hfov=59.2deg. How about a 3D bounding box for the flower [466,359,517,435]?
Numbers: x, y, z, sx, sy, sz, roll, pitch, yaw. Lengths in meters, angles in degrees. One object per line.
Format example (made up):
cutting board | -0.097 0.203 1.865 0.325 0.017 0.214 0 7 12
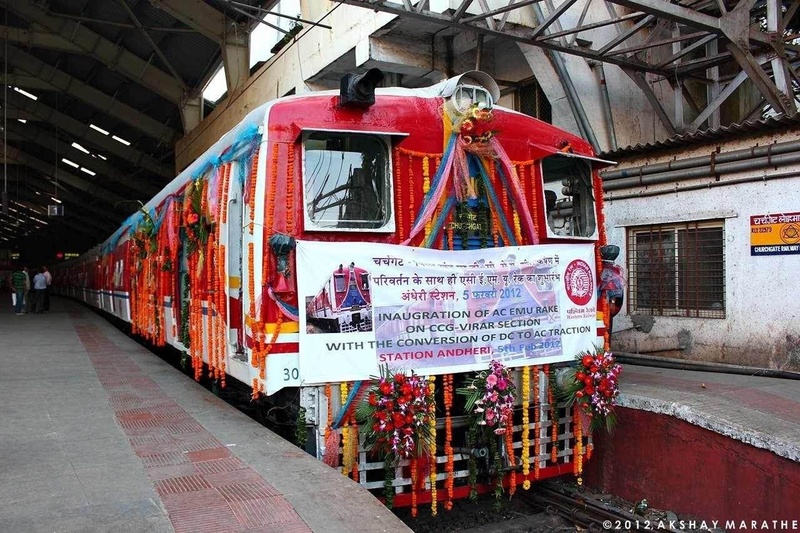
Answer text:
flower | 1.168 1.635 8.915 0.607 0.804 0.730 3 3 8

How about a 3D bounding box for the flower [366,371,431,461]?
flower | -0.005 1.837 8.483 0.815 1.086 0.392 0 9 -4

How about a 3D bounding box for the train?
train | -0.557 0.360 9.611 6.274 5.915 3.520 5 10 24

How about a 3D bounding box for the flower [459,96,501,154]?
flower | 1.015 -1.776 8.971 0.569 0.575 0.275 -34 37 -23
